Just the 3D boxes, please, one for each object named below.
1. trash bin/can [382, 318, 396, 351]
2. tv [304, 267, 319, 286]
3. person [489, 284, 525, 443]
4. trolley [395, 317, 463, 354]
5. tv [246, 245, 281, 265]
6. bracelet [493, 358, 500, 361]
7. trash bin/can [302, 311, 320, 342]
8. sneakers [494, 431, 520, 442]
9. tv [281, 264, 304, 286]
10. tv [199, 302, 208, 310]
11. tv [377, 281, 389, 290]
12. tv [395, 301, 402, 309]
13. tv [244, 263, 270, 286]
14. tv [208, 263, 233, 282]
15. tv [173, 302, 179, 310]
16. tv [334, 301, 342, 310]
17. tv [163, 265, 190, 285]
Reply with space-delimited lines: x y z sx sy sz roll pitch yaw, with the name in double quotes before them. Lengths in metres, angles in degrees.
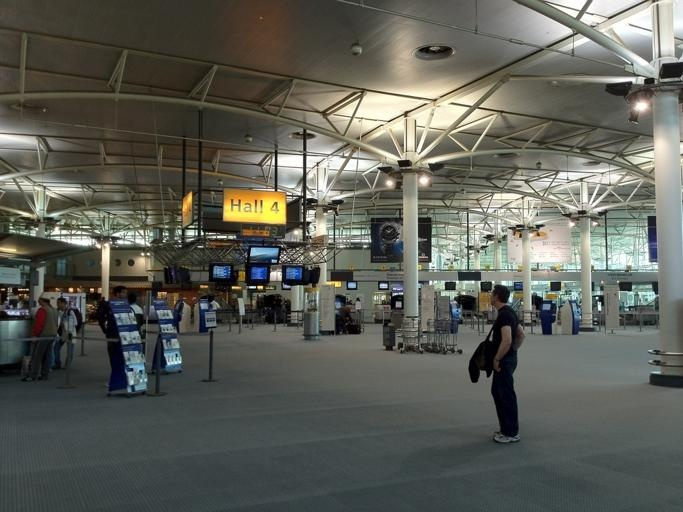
"trash bin/can" 1.758 3.005 20.661 0.382 0.867 0.707 -1 -3 -5
"tv" -1.535 1.129 30.065 0.993 0.857 0.751 1 -1 14
"person" 2.603 1.648 8.771 0.495 2.373 0.843 -2 -3 16
"trolley" 3.236 3.051 20.952 1.302 0.981 2.199 1 1 -25
"tv" -3.764 0.010 27.239 1.494 0.816 2.271 0 -3 -11
"bracelet" 2.362 1.587 8.518 0.080 0.059 0.073 -1 -3 8
"trash bin/can" -1.312 3.045 24.490 0.631 1.220 0.494 0 -3 -10
"sneakers" 2.513 2.769 8.558 0.378 0.143 0.141 4 -6 8
"tv" -2.408 0.937 27.949 1.064 0.955 0.948 -1 -3 -7
"tv" -7.079 2.587 28.796 0.419 0.353 0.217 2 -8 -44
"tv" 3.492 2.513 46.049 0.838 0.728 1.394 -1 -3 5
"tv" 3.447 2.979 33.840 0.427 0.386 0.432 -1 -2 6
"tv" -4.112 0.916 27.542 1.234 1.050 0.595 1 -4 -22
"tv" -6.083 0.859 28.509 1.176 0.955 1.151 0 -3 -15
"tv" -8.480 2.578 28.669 0.303 0.396 0.415 7 -12 -1
"tv" -0.200 3.351 37.677 0.614 0.361 0.780 0 -5 -3
"tv" -9.213 1.082 31.579 1.051 0.939 1.825 1 -3 -28
